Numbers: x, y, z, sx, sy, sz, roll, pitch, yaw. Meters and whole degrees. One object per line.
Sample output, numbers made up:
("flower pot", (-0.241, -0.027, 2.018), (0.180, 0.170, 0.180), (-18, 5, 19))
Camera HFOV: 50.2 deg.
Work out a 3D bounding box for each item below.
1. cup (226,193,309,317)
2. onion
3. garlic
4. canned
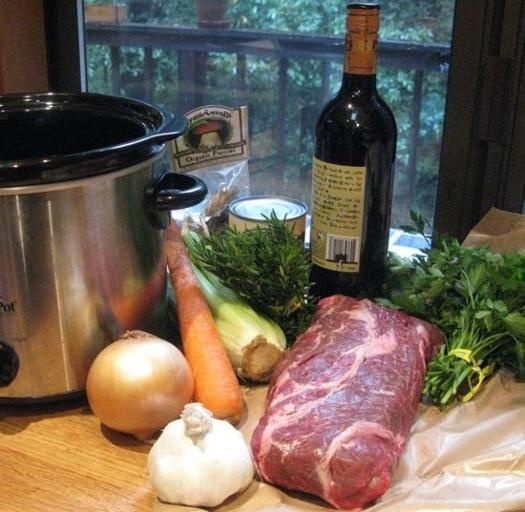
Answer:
("cup", (0.017, 0.000, 0.920), (0.137, 0.168, 0.129), (2, 27, -1))
("onion", (-0.151, 0.149, 0.679), (0.146, 0.117, 0.125), (-3, -2, 5))
("garlic", (-0.064, 0.212, 0.582), (0.106, 0.070, 0.079), (-2, 21, -11))
("canned", (0.037, -0.001, 0.925), (0.136, 0.168, 0.128), (-11, 30, -24))
